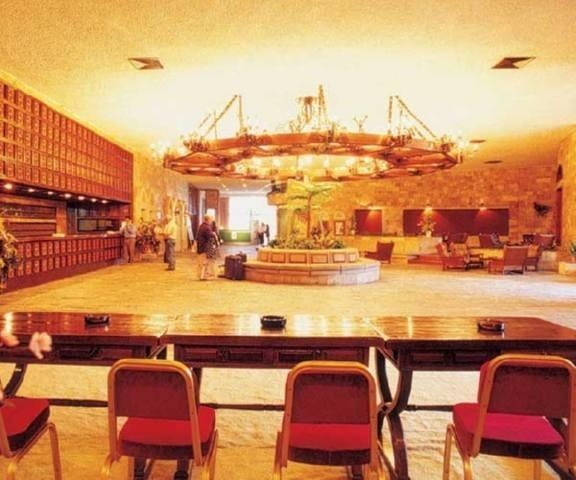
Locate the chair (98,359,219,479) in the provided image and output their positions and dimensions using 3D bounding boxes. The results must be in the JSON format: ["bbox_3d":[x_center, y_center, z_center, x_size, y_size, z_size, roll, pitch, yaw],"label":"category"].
[{"bbox_3d":[-0.693,0.923,3.027,0.598,1.005,0.738,1,12,-1],"label":"chair"}]

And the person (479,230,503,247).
[{"bbox_3d":[7.007,-0.007,17.087,0.757,0.692,0.623,-1,0,14],"label":"person"}]
